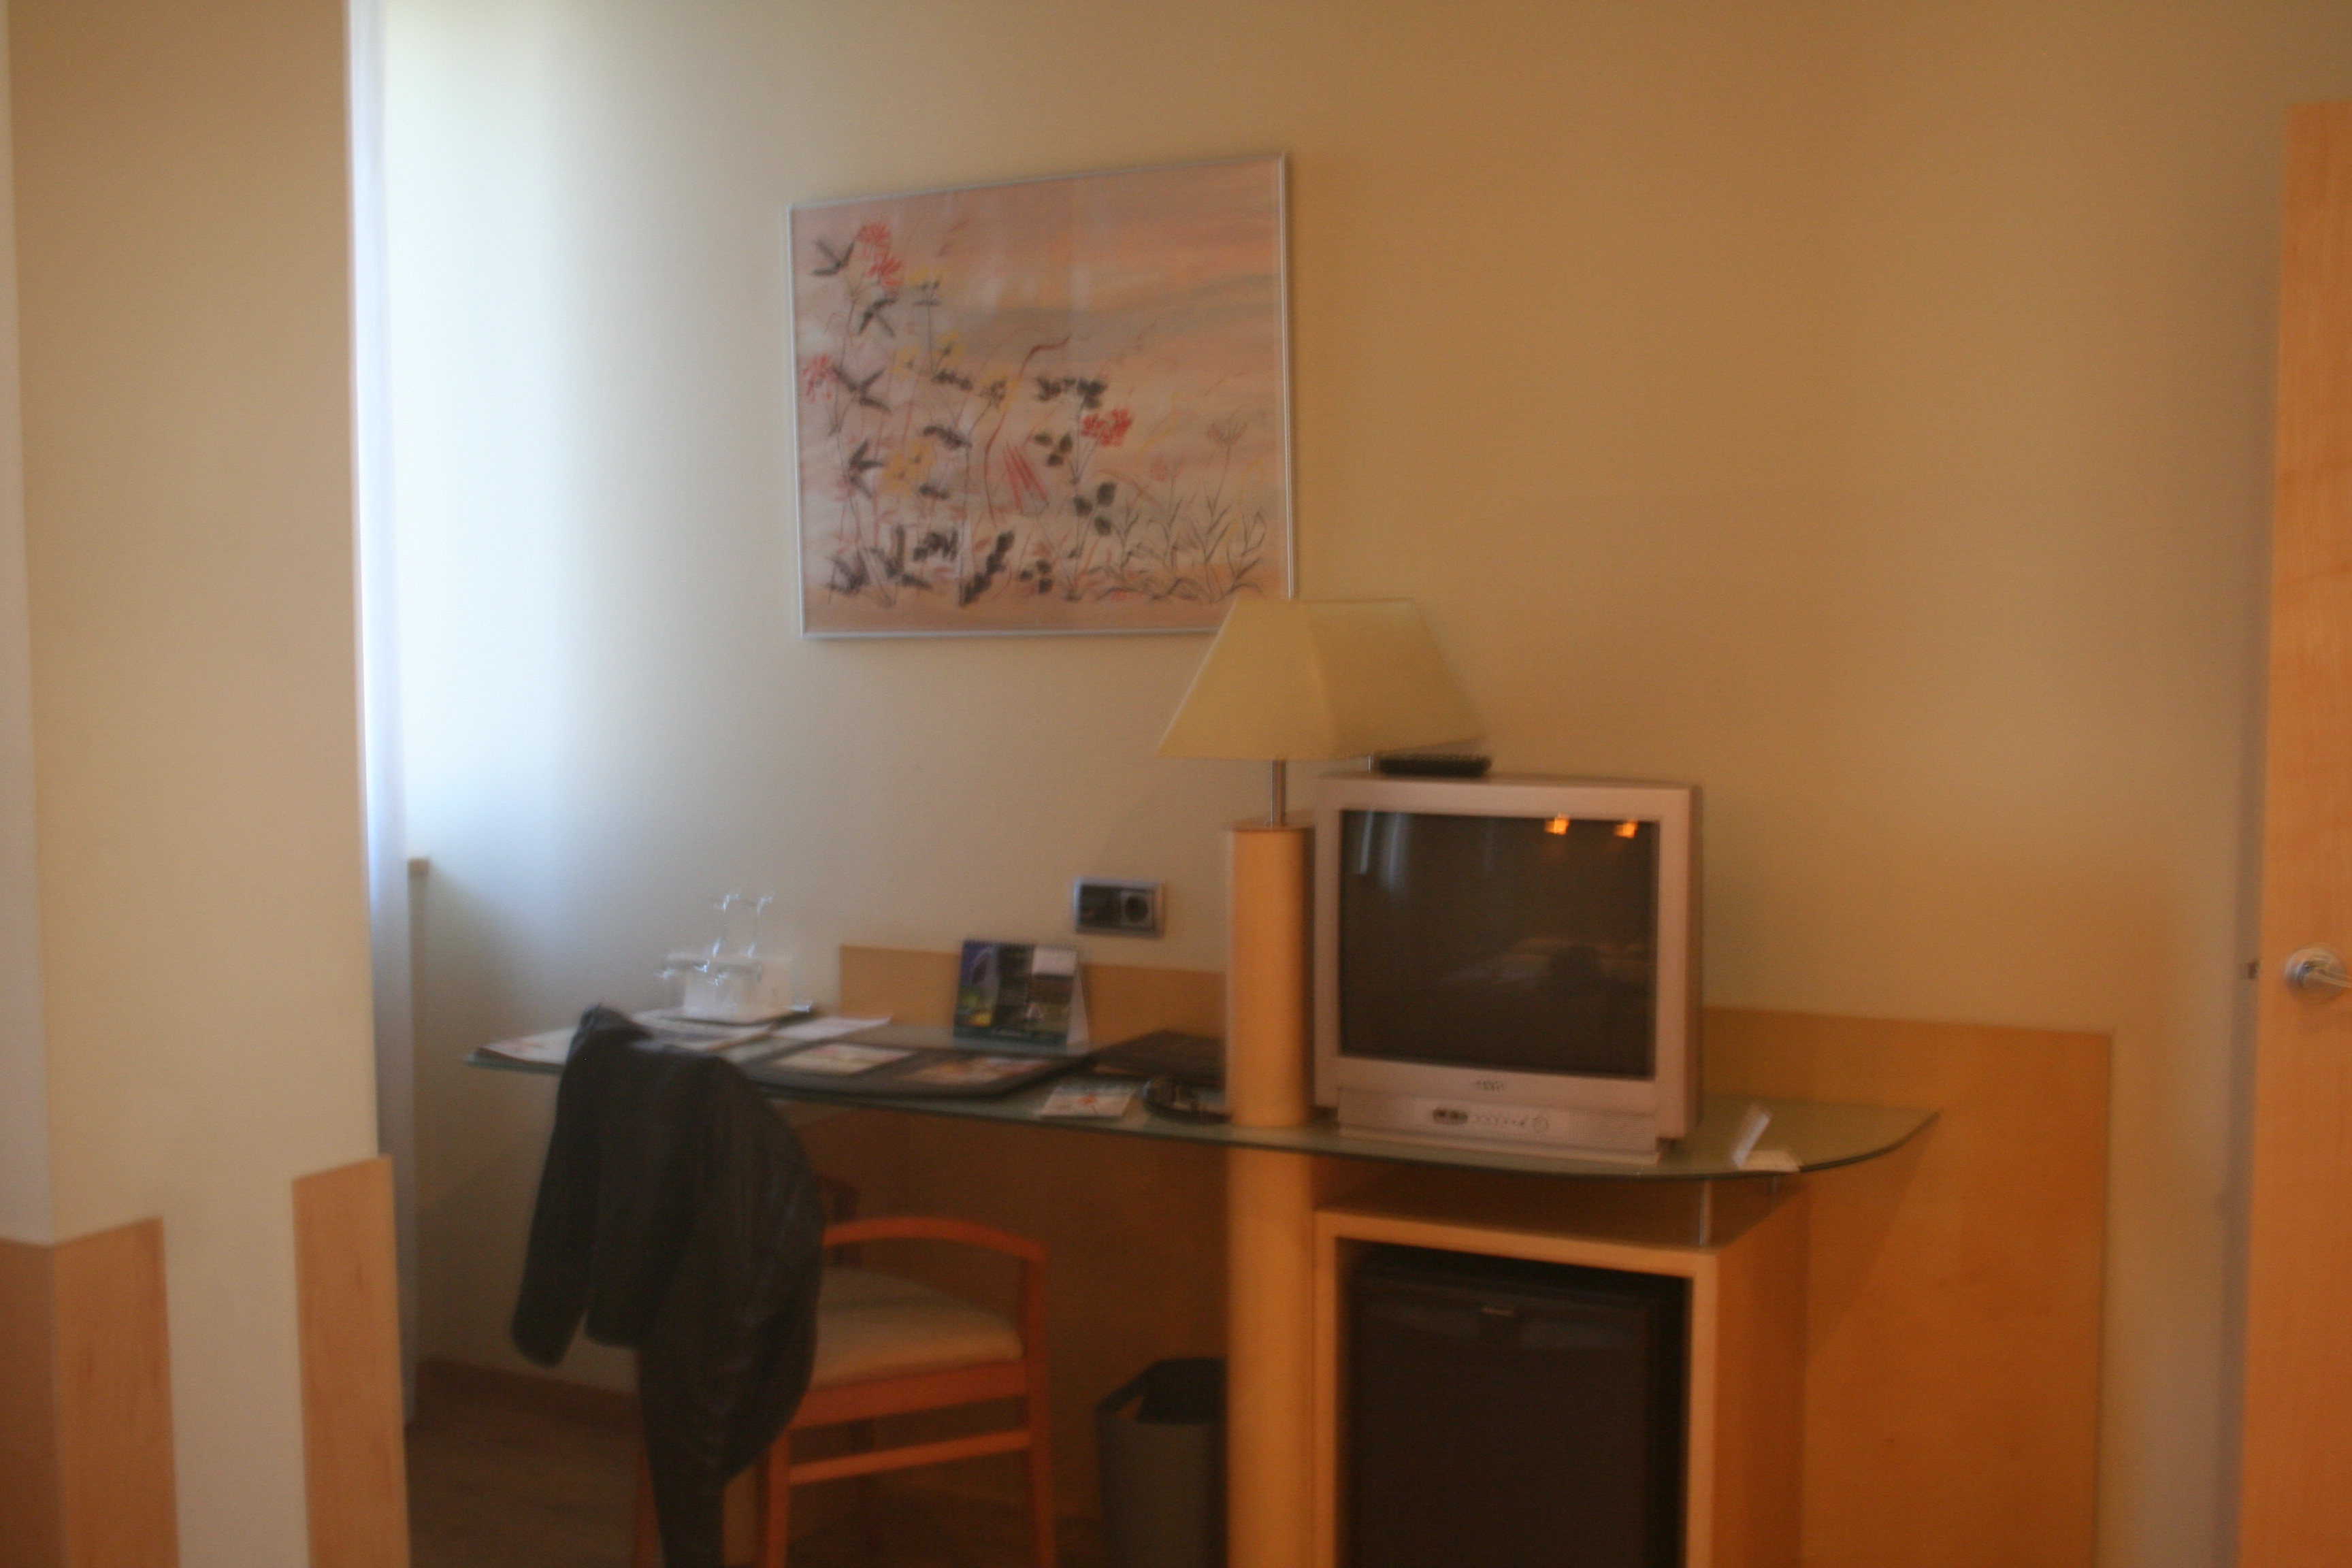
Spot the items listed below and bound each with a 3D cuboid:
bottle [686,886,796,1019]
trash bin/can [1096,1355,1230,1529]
[{"bbox_3d":[-0.967,0.376,4.228,0.262,0.336,0.252,2,2,0],"label":"bottle"},{"bbox_3d":[-0.026,1.312,3.733,0.248,0.245,0.359,1,4,0],"label":"trash bin/can"}]
